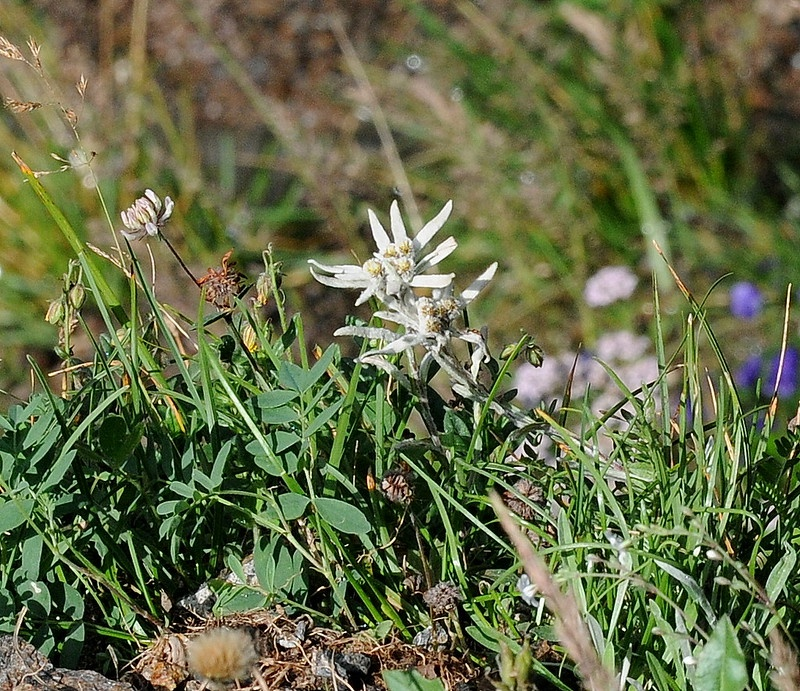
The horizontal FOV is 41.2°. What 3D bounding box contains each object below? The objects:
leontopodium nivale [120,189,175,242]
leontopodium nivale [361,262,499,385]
[{"bbox_3d":[-0.459,-0.221,1.934,0.099,0.073,0.105,-53,9,-8],"label":"leontopodium nivale"},{"bbox_3d":[0.042,-0.036,1.810,0.146,0.269,0.147,-1,7,-32],"label":"leontopodium nivale"}]
